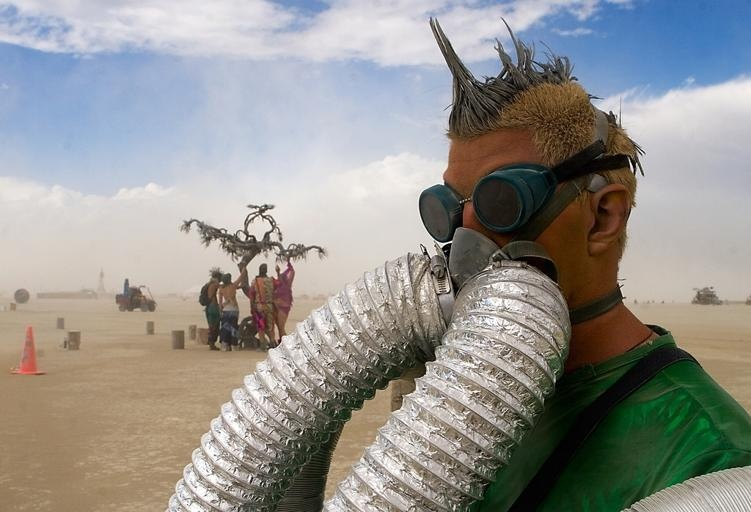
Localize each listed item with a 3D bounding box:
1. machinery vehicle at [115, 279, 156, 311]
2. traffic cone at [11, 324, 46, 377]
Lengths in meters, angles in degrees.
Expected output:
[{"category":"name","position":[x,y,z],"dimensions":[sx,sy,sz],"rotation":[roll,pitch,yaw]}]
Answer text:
[{"category":"machinery vehicle","position":[-9.612,1.583,28.414],"dimensions":[1.650,1.132,0.977],"rotation":[5,7,-26]},{"category":"traffic cone","position":[-6.138,1.659,12.596],"dimensions":[0.722,0.774,0.710],"rotation":[2,-1,-4]}]
